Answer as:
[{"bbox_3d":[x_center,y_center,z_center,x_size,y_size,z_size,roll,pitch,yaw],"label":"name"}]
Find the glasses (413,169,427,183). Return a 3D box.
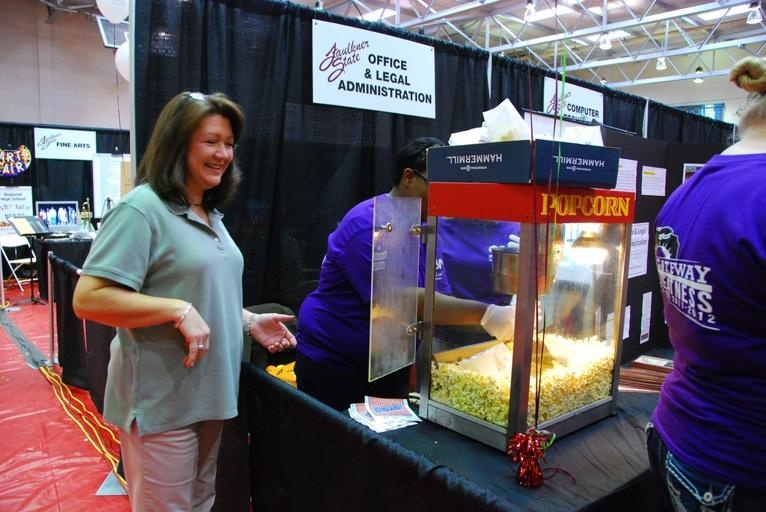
[{"bbox_3d":[0.173,-0.372,2.649,0.056,0.051,0.027,5,9,19],"label":"glasses"}]

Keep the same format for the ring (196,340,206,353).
[{"bbox_3d":[-0.721,0.359,2.264,0.032,0.065,0.036,1,-2,9],"label":"ring"}]

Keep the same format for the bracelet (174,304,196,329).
[{"bbox_3d":[-0.777,0.239,2.262,0.100,0.077,0.044,-42,8,-27],"label":"bracelet"}]

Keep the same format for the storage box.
[{"bbox_3d":[0.533,-0.366,2.245,0.760,0.171,0.373,5,9,18],"label":"storage box"}]

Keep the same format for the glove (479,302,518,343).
[{"bbox_3d":[0.449,0.252,2.204,0.121,0.122,0.126,2,-5,32],"label":"glove"}]
